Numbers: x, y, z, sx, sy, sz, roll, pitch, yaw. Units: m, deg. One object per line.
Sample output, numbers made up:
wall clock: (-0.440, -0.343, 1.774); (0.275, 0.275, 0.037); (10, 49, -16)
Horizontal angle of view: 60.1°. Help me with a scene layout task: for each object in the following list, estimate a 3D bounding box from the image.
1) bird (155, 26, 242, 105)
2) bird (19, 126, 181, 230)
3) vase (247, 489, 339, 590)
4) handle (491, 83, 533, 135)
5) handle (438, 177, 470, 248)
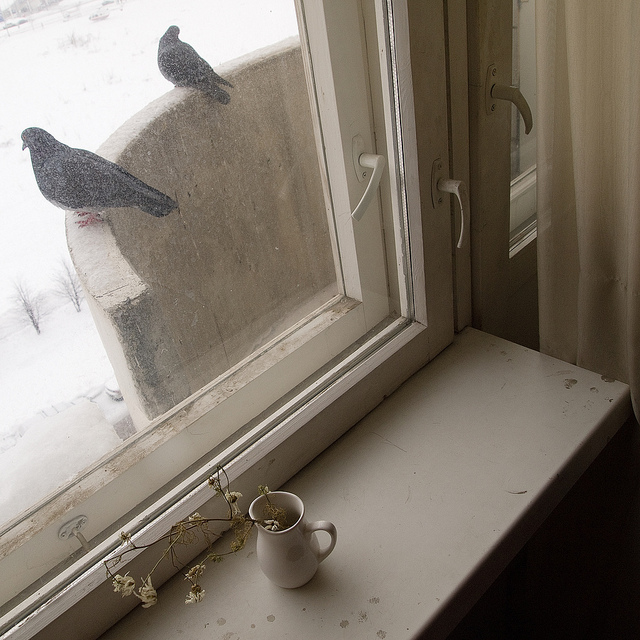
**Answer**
bird: (-0.140, -0.287, 0.615); (0.083, 0.076, 0.053); (8, 26, 16)
bird: (-0.238, -0.153, 0.595); (0.144, 0.113, 0.065); (-1, 34, -4)
vase: (-0.026, 0.272, 0.682); (0.097, 0.118, 0.076); (1, 34, 17)
handle: (0.317, -0.348, 0.904); (0.038, 0.077, 0.079); (-24, 29, -22)
handle: (0.219, -0.179, 0.905); (0.042, 0.149, 0.025); (18, 46, 36)
